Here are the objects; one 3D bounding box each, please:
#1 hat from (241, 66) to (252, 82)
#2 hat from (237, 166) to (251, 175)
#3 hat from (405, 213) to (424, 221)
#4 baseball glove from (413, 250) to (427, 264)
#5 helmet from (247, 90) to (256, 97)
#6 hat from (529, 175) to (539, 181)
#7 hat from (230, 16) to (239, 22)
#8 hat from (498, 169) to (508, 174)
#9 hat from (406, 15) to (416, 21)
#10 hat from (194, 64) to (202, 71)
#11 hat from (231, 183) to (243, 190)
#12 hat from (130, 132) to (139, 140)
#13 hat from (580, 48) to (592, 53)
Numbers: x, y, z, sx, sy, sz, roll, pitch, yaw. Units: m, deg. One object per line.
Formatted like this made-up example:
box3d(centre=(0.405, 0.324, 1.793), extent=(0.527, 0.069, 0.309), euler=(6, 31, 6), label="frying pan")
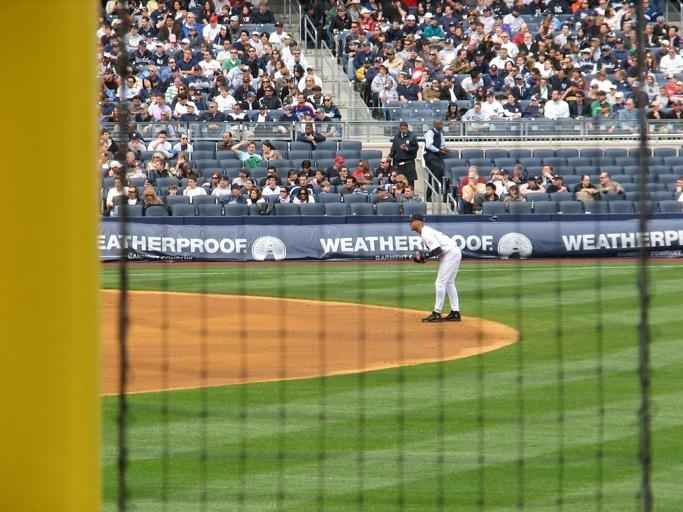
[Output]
box3d(centre=(-1.979, -3.887, 36.349), extent=(0.204, 0.412, 0.615), euler=(-8, -4, -3), label="hat")
box3d(centre=(-1.878, -1.677, 33.812), extent=(0.202, 0.194, 0.237), euler=(-7, -4, -7), label="hat")
box3d(centre=(1.230, -0.657, 27.987), extent=(0.216, 0.096, 0.150), euler=(5, 4, 13), label="hat")
box3d(centre=(1.291, 0.001, 27.808), extent=(0.194, 0.105, 0.253), euler=(9, 1, 25), label="baseball glove")
box3d(centre=(-1.838, -3.438, 36.113), extent=(0.238, 0.127, 0.161), euler=(-4, -5, -36), label="helmet")
box3d(centre=(3.895, -1.595, 34.606), extent=(0.179, 0.136, 0.313), euler=(-7, -4, 6), label="hat")
box3d(centre=(-2.344, -5.268, 37.936), extent=(0.131, 0.082, 0.172), euler=(-1, 10, 7), label="hat")
box3d(centre=(3.293, -1.719, 34.494), extent=(0.123, 0.096, 0.124), euler=(3, 5, 39), label="hat")
box3d(centre=(1.620, -5.469, 39.184), extent=(0.166, 0.082, 0.241), euler=(3, 7, 14), label="hat")
box3d(centre=(-3.027, -4.037, 36.490), extent=(0.116, 0.133, 0.148), euler=(3, 2, 25), label="hat")
box3d(centre=(-2.016, -1.377, 33.474), extent=(0.166, 0.127, 0.114), euler=(-7, 32, -10), label="hat")
box3d(centre=(-4.074, -2.395, 33.776), extent=(0.204, 0.093, 0.274), euler=(0, 4, 0), label="hat")
box3d(centre=(5.289, -4.430, 36.757), extent=(0.170, 0.081, 0.252), euler=(-1, 5, 23), label="hat")
